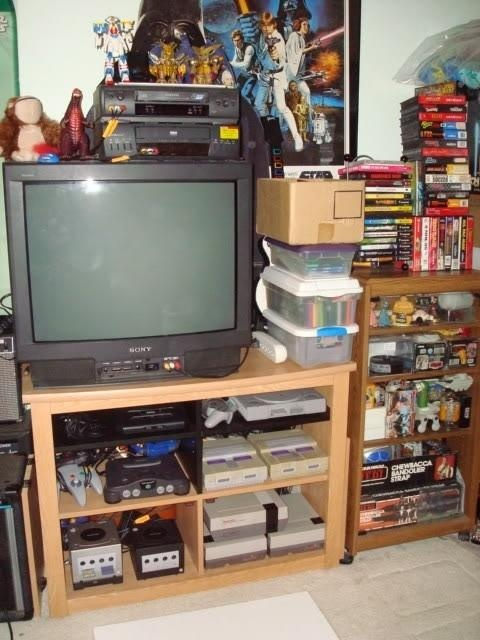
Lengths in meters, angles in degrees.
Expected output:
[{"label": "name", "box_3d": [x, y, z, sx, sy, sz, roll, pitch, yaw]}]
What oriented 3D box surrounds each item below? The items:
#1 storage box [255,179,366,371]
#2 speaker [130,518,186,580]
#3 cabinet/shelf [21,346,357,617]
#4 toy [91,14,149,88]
[{"label": "storage box", "box_3d": [0.248, -0.177, 1.919, 0.348, 0.615, 0.394, 0, 12, -7]}, {"label": "speaker", "box_3d": [-0.285, 0.769, 1.886, 0.158, 0.103, 0.158, -2, 6, -19]}, {"label": "cabinet/shelf", "box_3d": [-0.184, 0.531, 1.800, 0.858, 0.563, 0.295, -3, 16, -16]}, {"label": "toy", "box_3d": [-0.424, -0.917, 1.865, 0.132, 0.214, 0.092, 5, 13, 18]}]
